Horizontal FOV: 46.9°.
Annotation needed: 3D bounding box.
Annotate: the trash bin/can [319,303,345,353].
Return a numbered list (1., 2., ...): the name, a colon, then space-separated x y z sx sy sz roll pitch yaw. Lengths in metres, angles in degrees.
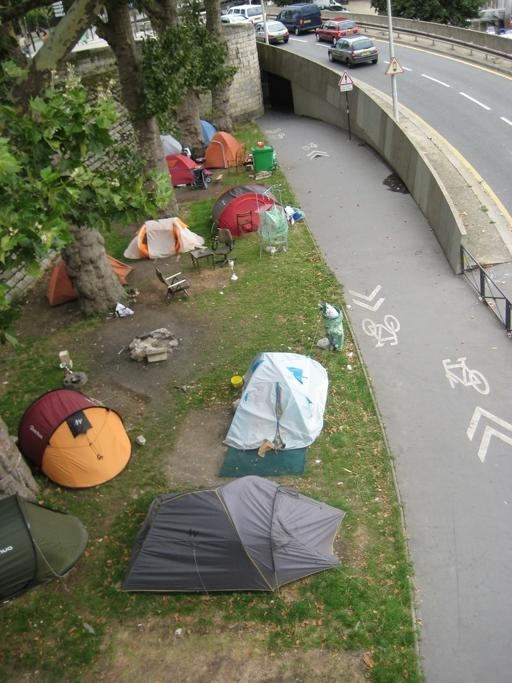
1. trash bin/can: 1.674 -0.299 12.918 0.476 1.225 0.591 -3 33 6

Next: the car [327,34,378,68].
1. car: 4.984 -15.328 31.098 1.577 1.276 2.585 -21 52 -9

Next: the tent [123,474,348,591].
1. tent: -0.342 2.878 8.488 2.419 0.792 1.631 -2 37 5

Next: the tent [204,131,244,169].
1. tent: -1.286 -8.019 24.796 1.851 1.179 1.790 9 49 19

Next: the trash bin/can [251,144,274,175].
1. trash bin/can: 0.280 -7.241 23.324 1.126 1.419 1.057 -3 32 -2

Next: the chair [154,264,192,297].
1. chair: -2.253 -1.615 16.051 0.637 0.813 0.536 -16 47 -1

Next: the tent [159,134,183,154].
1. tent: -3.380 -7.902 23.843 0.728 0.637 1.197 -5 32 1

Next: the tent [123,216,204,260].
1. tent: -2.815 -2.853 18.103 2.468 0.868 1.712 1 30 10

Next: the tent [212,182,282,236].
1. tent: -0.422 -4.067 18.238 1.983 1.194 1.897 -8 32 -10

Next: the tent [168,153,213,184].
1. tent: -2.810 -6.715 23.268 1.303 1.176 1.310 0 33 9
